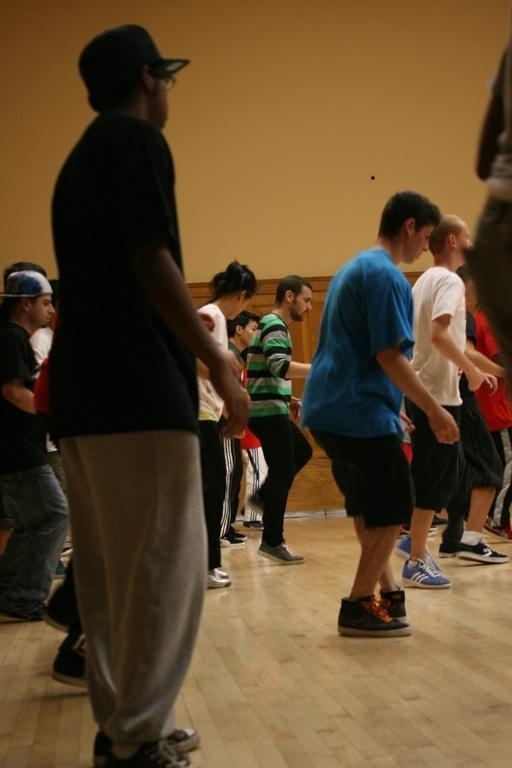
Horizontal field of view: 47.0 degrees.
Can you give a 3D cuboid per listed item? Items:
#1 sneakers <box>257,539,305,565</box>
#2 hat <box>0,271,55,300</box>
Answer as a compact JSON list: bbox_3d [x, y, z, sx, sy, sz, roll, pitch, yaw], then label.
[{"bbox_3d":[0.173,1.138,4.023,0.320,0.153,0.120,15,-1,5],"label":"sneakers"},{"bbox_3d":[-1.135,-0.491,2.909,0.195,0.138,0.136,-7,11,-13],"label":"hat"}]
